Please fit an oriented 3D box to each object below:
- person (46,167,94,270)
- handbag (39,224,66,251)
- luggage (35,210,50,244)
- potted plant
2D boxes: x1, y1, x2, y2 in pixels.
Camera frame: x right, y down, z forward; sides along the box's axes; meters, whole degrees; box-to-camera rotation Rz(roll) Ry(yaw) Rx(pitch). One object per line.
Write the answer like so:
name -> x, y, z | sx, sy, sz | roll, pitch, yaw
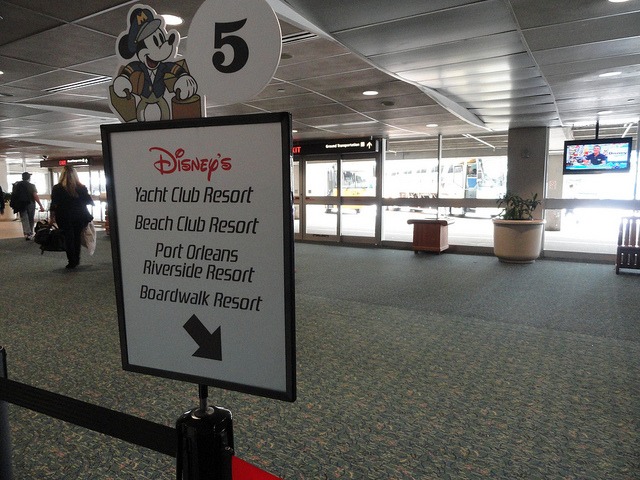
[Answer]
person -> -4.547, -0.409, 8.064 | 0.712, 1.901, 0.433 | -2, 10, -14
handbag -> -4.801, -0.054, 7.934 | 0.467, 0.458, 0.257 | 1, -1, -11
luggage -> -5.129, -0.283, 8.198 | 0.148, 0.310, 0.231 | 17, 18, 21
potted plant -> 4.374, -0.293, 9.734 | 0.981, 1.438, 1.002 | 6, 11, 27
